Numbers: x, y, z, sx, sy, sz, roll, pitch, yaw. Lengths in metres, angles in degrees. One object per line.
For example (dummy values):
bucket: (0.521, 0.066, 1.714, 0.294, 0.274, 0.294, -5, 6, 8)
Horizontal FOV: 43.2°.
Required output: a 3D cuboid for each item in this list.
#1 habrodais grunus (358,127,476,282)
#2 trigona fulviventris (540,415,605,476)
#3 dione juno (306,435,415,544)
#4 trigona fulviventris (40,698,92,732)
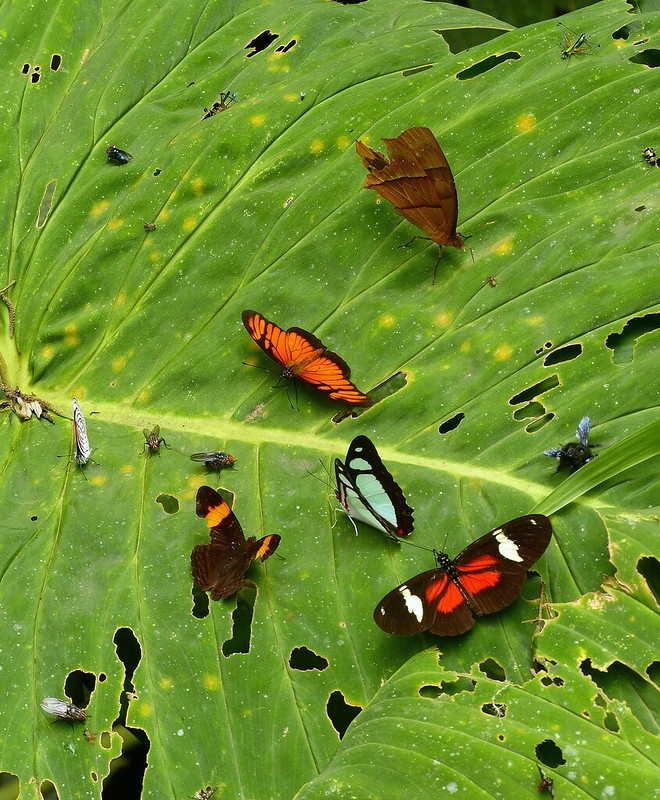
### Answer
habrodais grunus: (0.379, -0.996, 3.923, 0.347, 0.502, 0.688, -31, 62, 3)
trigona fulviventris: (1.066, 0.205, 3.570, 0.255, 0.144, 0.181, -38, 62, -1)
dione juno: (0.173, 0.364, 3.636, 0.402, 0.336, 0.387, 18, 26, 17)
trigona fulviventris: (-1.107, 1.286, 3.454, 0.139, 0.043, 0.099, 24, 51, -8)
